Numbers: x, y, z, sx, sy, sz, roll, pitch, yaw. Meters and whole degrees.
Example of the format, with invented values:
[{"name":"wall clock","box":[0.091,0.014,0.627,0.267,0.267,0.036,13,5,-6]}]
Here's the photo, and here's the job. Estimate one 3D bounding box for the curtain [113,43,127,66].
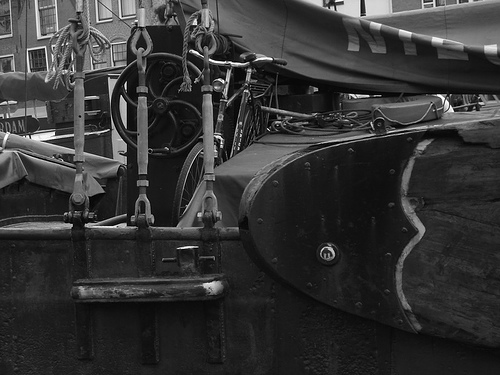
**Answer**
[{"name":"curtain","box":[-4.542,-4.674,28.594,0.462,0.782,1.926,-13,4,-8]}]
